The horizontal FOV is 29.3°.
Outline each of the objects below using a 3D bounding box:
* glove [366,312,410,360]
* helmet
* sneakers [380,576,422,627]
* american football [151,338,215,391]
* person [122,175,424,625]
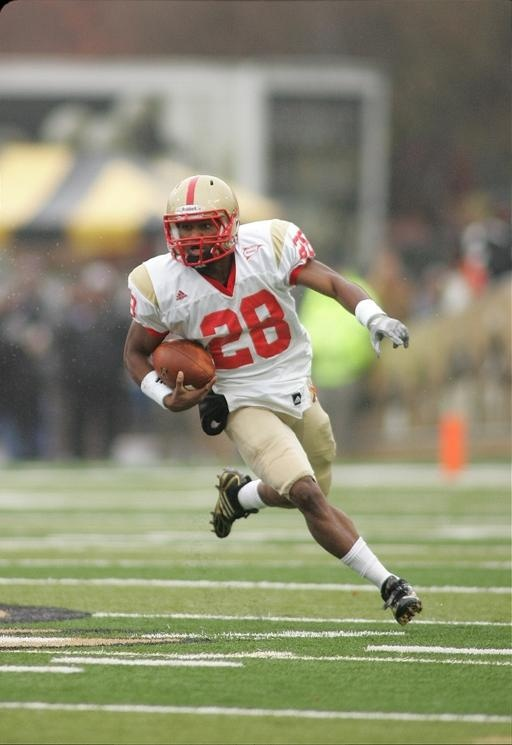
[{"bbox_3d":[0.380,-0.115,2.924,0.115,0.050,0.140,-20,48,-22],"label":"glove"},{"bbox_3d":[-0.178,-0.493,3.204,0.242,0.312,0.229,-1,5,-2],"label":"helmet"},{"bbox_3d":[0.425,0.681,2.942,0.106,0.066,0.200,21,3,-12],"label":"sneakers"},{"bbox_3d":[-0.229,-0.022,3.173,0.208,0.157,0.181,-2,4,-8],"label":"american football"},{"bbox_3d":[-0.017,0.009,3.101,0.767,1.305,0.675,-2,5,-8],"label":"person"}]
